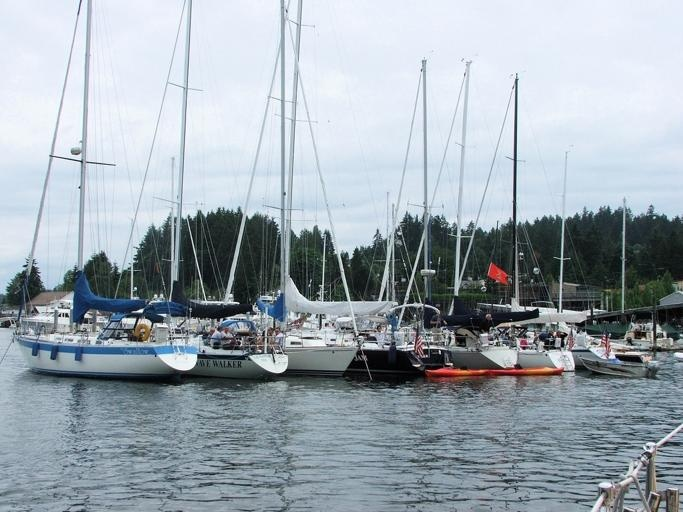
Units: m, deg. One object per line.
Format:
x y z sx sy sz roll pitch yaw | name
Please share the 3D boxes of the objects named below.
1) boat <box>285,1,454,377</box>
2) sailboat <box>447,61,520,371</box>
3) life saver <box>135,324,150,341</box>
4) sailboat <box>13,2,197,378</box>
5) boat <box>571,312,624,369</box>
-0.899 -1.423 40.939 4.797 22.530 1.929 0 0 -23 | boat
9.644 1.562 57.805 1.455 17.644 2.063 -1 1 -26 | sailboat
-8.879 3.443 38.106 0.587 0.920 0.083 7 -19 -33 | life saver
-9.906 -3.109 36.109 6.608 17.636 22.020 0 3 -20 | sailboat
14.145 5.214 49.036 1.908 3.466 7.764 2 -1 3 | boat
